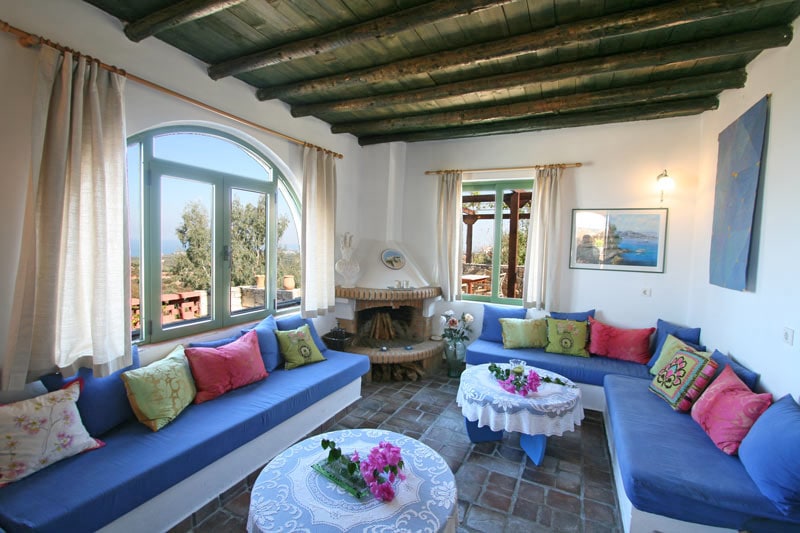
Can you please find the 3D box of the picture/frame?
[{"bbox_3d":[2.647,-0.314,5.872,0.788,0.568,0.013,2,5,24],"label":"picture/frame"}]

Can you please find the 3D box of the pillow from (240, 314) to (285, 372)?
[{"bbox_3d":[-1.388,0.797,4.972,0.221,0.394,0.480,5,11,13],"label":"pillow"}]

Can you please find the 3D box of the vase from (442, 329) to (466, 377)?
[{"bbox_3d":[0.751,1.118,6.339,0.363,0.595,0.381,2,-6,-33],"label":"vase"}]
